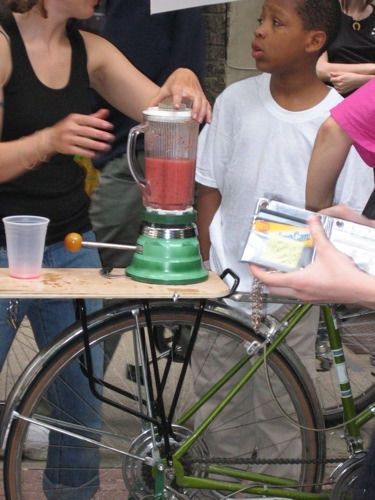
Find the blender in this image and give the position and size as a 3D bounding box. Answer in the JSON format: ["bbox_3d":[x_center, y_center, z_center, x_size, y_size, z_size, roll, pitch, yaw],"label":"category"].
[{"bbox_3d":[-0.056,-0.141,1.345,0.274,0.418,0.240,0,10,-20],"label":"blender"}]

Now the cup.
[{"bbox_3d":[-0.362,-0.005,1.249,0.163,0.138,0.120,9,3,28],"label":"cup"}]

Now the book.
[{"bbox_3d":[0.232,-0.027,1.069,0.284,0.126,0.038,11,9,1],"label":"book"}]
